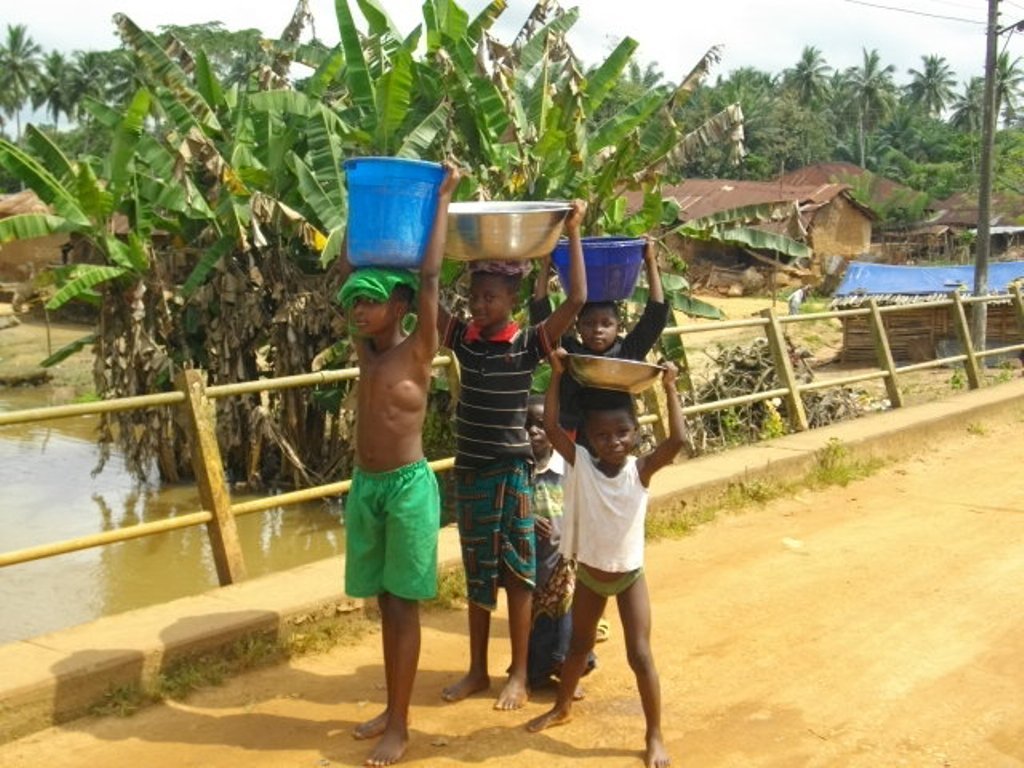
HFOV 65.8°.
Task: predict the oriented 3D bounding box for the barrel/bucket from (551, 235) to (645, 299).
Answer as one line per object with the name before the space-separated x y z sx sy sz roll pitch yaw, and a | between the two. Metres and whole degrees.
barrel/bucket | 0.474 -0.491 3.673 0.327 0.218 0.339 -1 3 0

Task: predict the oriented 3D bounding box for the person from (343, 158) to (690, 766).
person | -0.252 0.309 3.537 0.988 2.167 0.698 -3 1 -28

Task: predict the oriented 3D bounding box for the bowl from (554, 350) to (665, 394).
bowl | 0.423 -0.055 3.322 0.424 0.133 0.310 -3 1 11

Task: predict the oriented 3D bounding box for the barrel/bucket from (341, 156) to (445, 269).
barrel/bucket | -0.479 -0.659 3.266 0.403 0.353 0.423 7 3 0

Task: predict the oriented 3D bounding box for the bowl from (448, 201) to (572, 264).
bowl | -0.096 -0.692 3.589 0.693 0.270 0.693 -1 19 0
